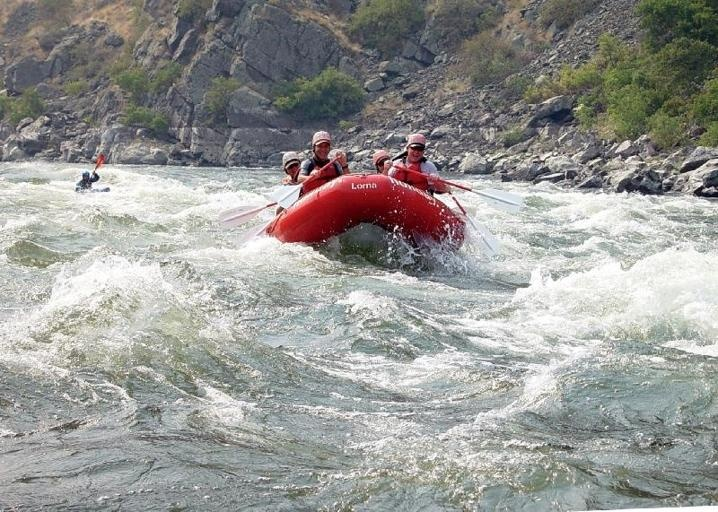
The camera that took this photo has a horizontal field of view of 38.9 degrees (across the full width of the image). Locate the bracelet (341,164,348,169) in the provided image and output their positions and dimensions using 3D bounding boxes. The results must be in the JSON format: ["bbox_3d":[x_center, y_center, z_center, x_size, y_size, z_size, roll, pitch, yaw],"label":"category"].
[{"bbox_3d":[-0.468,-2.717,30.628,0.137,0.170,0.447,10,12,5],"label":"bracelet"}]

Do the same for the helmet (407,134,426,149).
[{"bbox_3d":[1.670,-3.433,30.302,0.535,0.430,0.581,8,12,-1],"label":"helmet"}]

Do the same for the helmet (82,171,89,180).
[{"bbox_3d":[-9.609,-2.841,35.365,0.248,0.263,0.276,-1,33,-11],"label":"helmet"}]

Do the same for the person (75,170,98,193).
[{"bbox_3d":[-9.687,-2.731,35.941,0.699,0.709,1.513,8,12,-1],"label":"person"}]
